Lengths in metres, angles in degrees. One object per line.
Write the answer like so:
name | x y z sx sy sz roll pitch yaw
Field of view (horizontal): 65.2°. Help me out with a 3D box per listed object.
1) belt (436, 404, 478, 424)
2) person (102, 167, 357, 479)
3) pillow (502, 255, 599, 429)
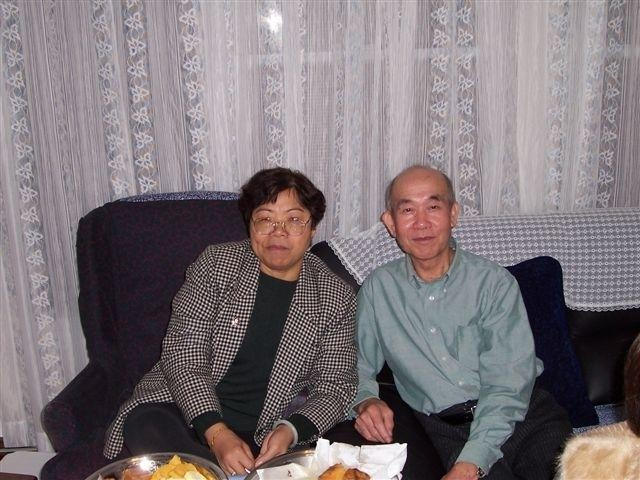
belt | 0.490 0.617 1.772 0.089 0.038 0.069 -11 -13 -2
person | -0.263 0.224 1.739 0.878 0.939 0.543 -6 6 -25
pillow | 0.861 0.353 2.075 0.227 0.786 0.306 -18 -26 12
